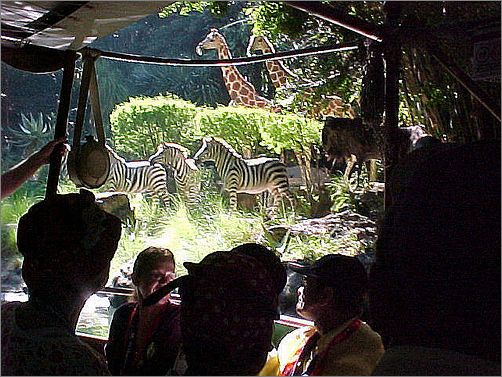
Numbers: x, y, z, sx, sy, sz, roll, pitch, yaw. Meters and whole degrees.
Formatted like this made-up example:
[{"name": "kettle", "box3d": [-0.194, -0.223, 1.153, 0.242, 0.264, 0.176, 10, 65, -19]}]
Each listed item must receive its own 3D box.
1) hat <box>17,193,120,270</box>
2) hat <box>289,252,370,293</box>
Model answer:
[{"name": "hat", "box3d": [-0.362, 0.081, 0.904, 0.194, 0.163, 0.054, 7, -1, 6]}, {"name": "hat", "box3d": [0.181, 0.187, 1.038, 0.086, 0.081, 0.192, 7, 0, -41]}]
